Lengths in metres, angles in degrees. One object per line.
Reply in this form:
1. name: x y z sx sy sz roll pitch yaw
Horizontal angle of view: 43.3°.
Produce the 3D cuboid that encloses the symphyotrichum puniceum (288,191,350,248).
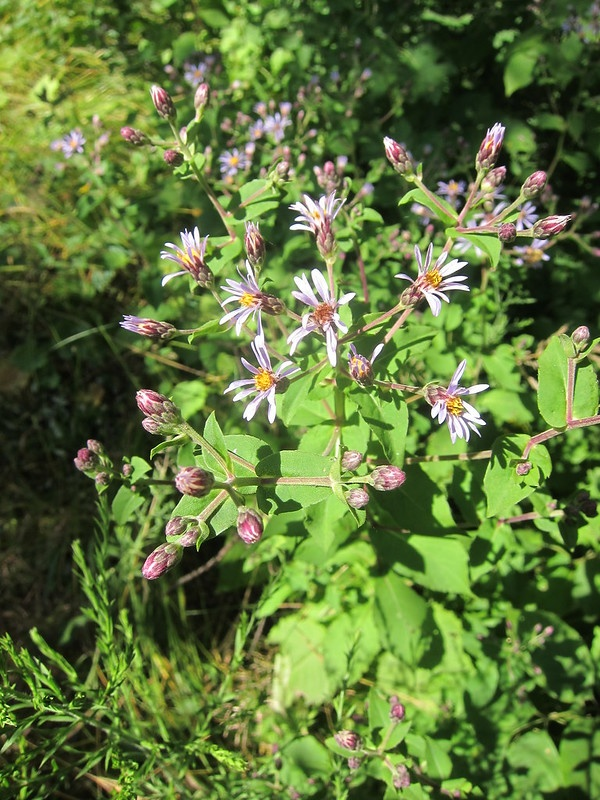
1. symphyotrichum puniceum: 0.096 -0.662 2.814 0.267 0.124 0.226 0 -5 -30
